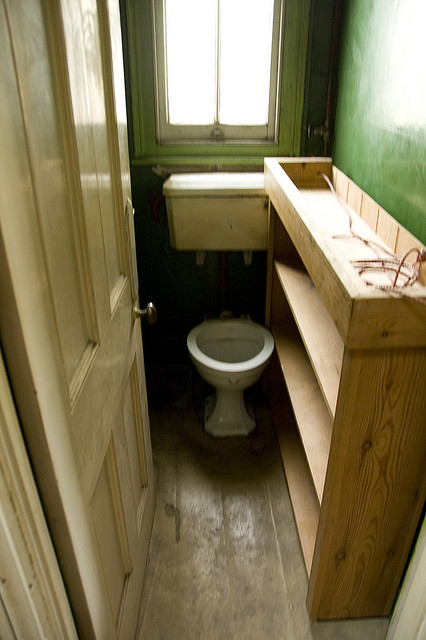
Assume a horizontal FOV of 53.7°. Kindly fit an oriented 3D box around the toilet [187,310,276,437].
[{"bbox_3d":[0.076,0.311,2.189,0.239,0.496,0.550,2,24,-1],"label":"toilet"}]
